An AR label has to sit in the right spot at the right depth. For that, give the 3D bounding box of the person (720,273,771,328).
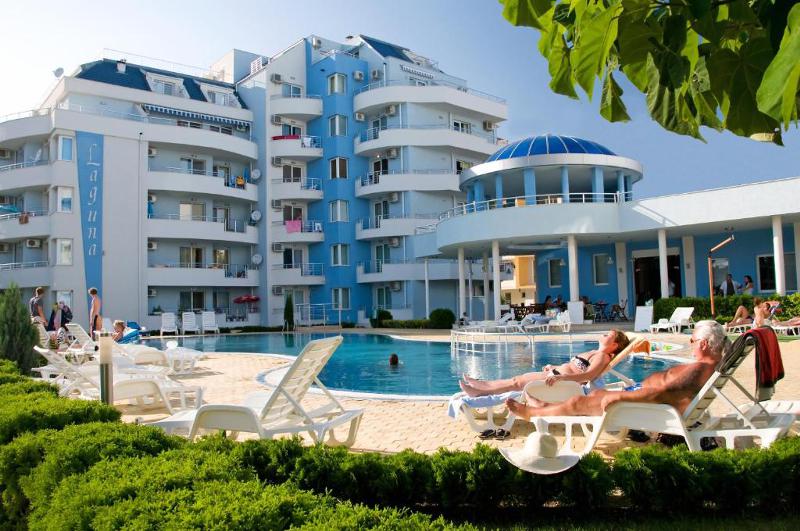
[{"bbox_3d":[10.852,1.114,23.923,1.141,0.636,1.119,27,-26,-27],"label":"person"}]

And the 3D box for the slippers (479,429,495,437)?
[{"bbox_3d":[1.298,2.504,11.393,0.107,0.060,0.180,5,2,20],"label":"slippers"}]

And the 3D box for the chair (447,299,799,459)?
[{"bbox_3d":[3.492,1.602,10.341,3.734,1.664,1.928,-2,-3,13],"label":"chair"}]

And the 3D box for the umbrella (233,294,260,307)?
[{"bbox_3d":[-8.134,1.767,40.330,1.389,0.595,2.107,-1,-3,-12],"label":"umbrella"}]

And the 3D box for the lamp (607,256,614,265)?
[{"bbox_3d":[9.029,-0.214,32.717,0.319,0.312,0.163,-4,-4,42],"label":"lamp"}]

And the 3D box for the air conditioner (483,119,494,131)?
[{"bbox_3d":[5.355,-8.452,46.327,0.774,0.581,0.284,1,-3,-38],"label":"air conditioner"}]
